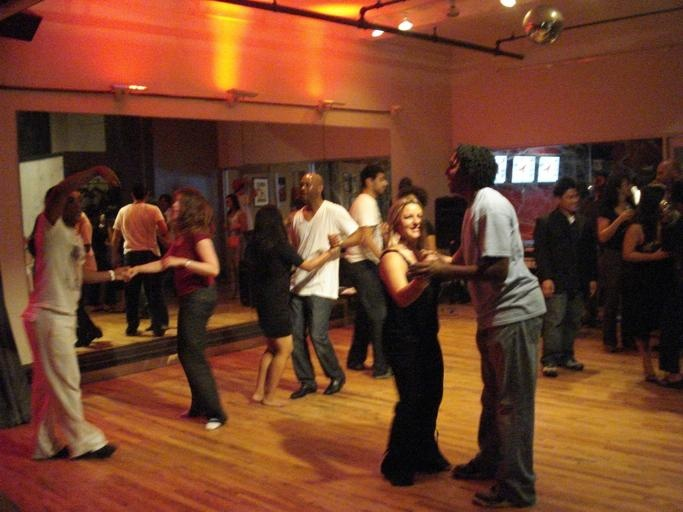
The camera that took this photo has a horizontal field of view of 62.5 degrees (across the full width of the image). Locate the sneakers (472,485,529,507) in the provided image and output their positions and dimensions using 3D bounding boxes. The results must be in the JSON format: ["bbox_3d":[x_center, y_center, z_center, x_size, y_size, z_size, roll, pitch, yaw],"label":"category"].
[{"bbox_3d":[0.922,1.413,3.282,0.328,0.128,0.116,3,-3,11],"label":"sneakers"}]

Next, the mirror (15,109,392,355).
[{"bbox_3d":[-1.532,-0.220,5.666,3.340,1.767,0.023,-6,7,-40],"label":"mirror"}]

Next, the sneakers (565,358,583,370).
[{"bbox_3d":[2.428,1.135,5.869,0.085,0.076,0.179,-4,0,-32],"label":"sneakers"}]

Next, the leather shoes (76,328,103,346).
[{"bbox_3d":[-2.662,0.844,5.902,0.275,0.186,0.256,0,-3,-3],"label":"leather shoes"}]

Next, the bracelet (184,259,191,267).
[{"bbox_3d":[-1.198,0.055,4.308,0.052,0.061,0.034,-4,6,-16],"label":"bracelet"}]

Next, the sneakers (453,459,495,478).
[{"bbox_3d":[0.856,1.374,3.643,0.270,0.104,0.119,2,-2,6],"label":"sneakers"}]

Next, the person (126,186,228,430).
[{"bbox_3d":[-1.258,0.437,4.524,0.527,1.949,0.503,-3,6,-13],"label":"person"}]

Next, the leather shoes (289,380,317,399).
[{"bbox_3d":[-0.364,1.279,5.303,0.288,0.105,0.095,2,-8,-40],"label":"leather shoes"}]

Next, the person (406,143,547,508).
[{"bbox_3d":[0.875,0.412,3.267,0.578,2.126,0.629,0,7,19],"label":"person"}]

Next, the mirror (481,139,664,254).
[{"bbox_3d":[2.894,-0.749,6.678,1.994,1.269,0.034,-1,-3,36],"label":"mirror"}]

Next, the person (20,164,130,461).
[{"bbox_3d":[-1.939,0.414,3.971,0.634,2.083,0.376,-5,7,-27],"label":"person"}]
